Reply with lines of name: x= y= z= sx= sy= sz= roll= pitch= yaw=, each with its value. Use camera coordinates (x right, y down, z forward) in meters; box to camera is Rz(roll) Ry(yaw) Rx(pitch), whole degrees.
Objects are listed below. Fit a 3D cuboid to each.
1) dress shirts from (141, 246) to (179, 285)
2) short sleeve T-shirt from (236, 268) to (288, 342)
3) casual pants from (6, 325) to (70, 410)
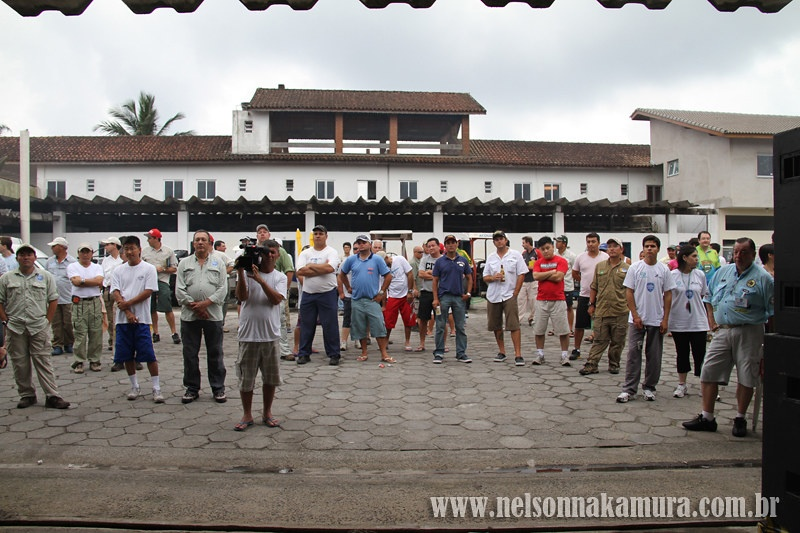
dress shirts: x=-4.114 y=-0.029 z=14.032 sx=0.830 sy=0.778 sz=0.473 roll=0 pitch=-2 yaw=-7
short sleeve T-shirt: x=-1.789 y=0.514 z=10.706 sx=0.628 sy=0.921 sz=0.313 roll=-1 pitch=3 yaw=-15
casual pants: x=-4.968 y=1.392 z=11.294 sx=0.881 sy=1.060 sz=0.357 roll=0 pitch=3 yaw=4
